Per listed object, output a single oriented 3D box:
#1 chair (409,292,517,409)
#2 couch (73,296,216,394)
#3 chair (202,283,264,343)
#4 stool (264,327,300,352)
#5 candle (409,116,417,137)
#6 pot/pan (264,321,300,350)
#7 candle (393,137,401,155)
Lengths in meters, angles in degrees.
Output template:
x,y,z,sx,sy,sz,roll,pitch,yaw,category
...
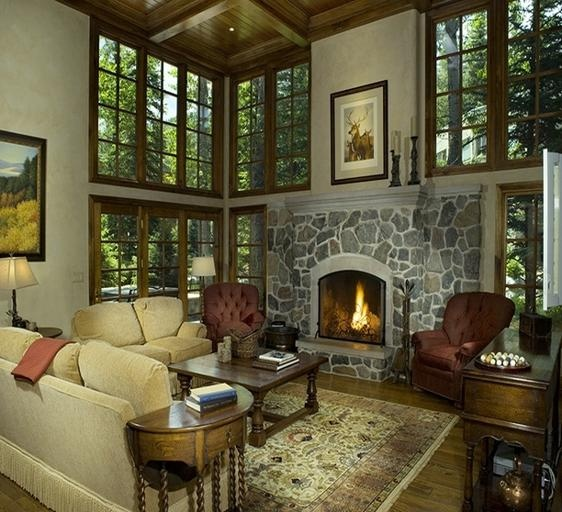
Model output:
x,y,z,sx,sy,sz,roll,pitch,yaw,category
1.906,0.841,5.236,1.144,1.403,1.072,4,-2,-34,chair
-1.518,0.764,5.113,0.876,1.113,1.535,-6,-8,35,couch
-0.609,0.716,6.074,0.685,0.876,0.745,1,-7,-13,chair
0.009,1.013,5.827,0.357,0.377,0.377,0,-1,-3,stool
1.548,-1.548,5.551,0.061,0.223,0.085,1,5,16,candle
0.014,0.994,5.836,0.372,0.390,0.394,0,-2,-2,pot/pan
1.369,-1.344,5.585,0.086,0.267,0.190,1,5,14,candle
